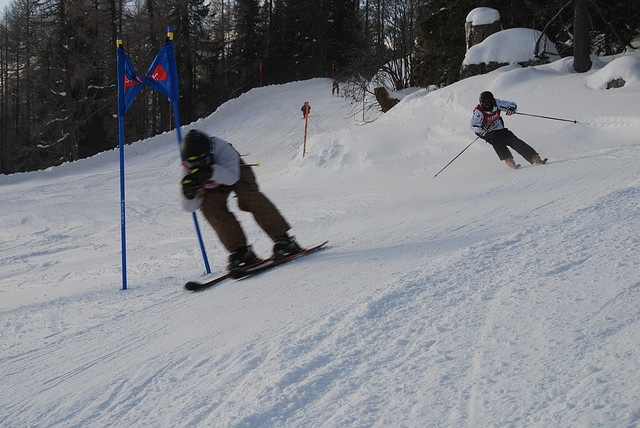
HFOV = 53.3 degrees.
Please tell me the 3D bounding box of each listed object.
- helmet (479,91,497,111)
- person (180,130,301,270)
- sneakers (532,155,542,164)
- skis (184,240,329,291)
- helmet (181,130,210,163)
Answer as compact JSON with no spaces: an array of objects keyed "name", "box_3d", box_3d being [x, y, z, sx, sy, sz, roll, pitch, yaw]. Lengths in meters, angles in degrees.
[{"name":"helmet","box_3d":[3.218,-2.139,12.241,0.297,0.339,0.374,-17,24,25]},{"name":"person","box_3d":[-1.185,-0.216,8.913,1.125,2.175,0.658,-29,24,7]},{"name":"sneakers","box_3d":[3.984,-0.983,11.671,0.113,0.160,0.273,-8,8,-7]},{"name":"skis","box_3d":[-0.840,0.720,8.630,1.423,0.111,0.159,-25,23,-33]},{"name":"helmet","box_3d":[-1.574,-0.870,8.351,0.361,0.391,0.443,-2,39,5]}]
